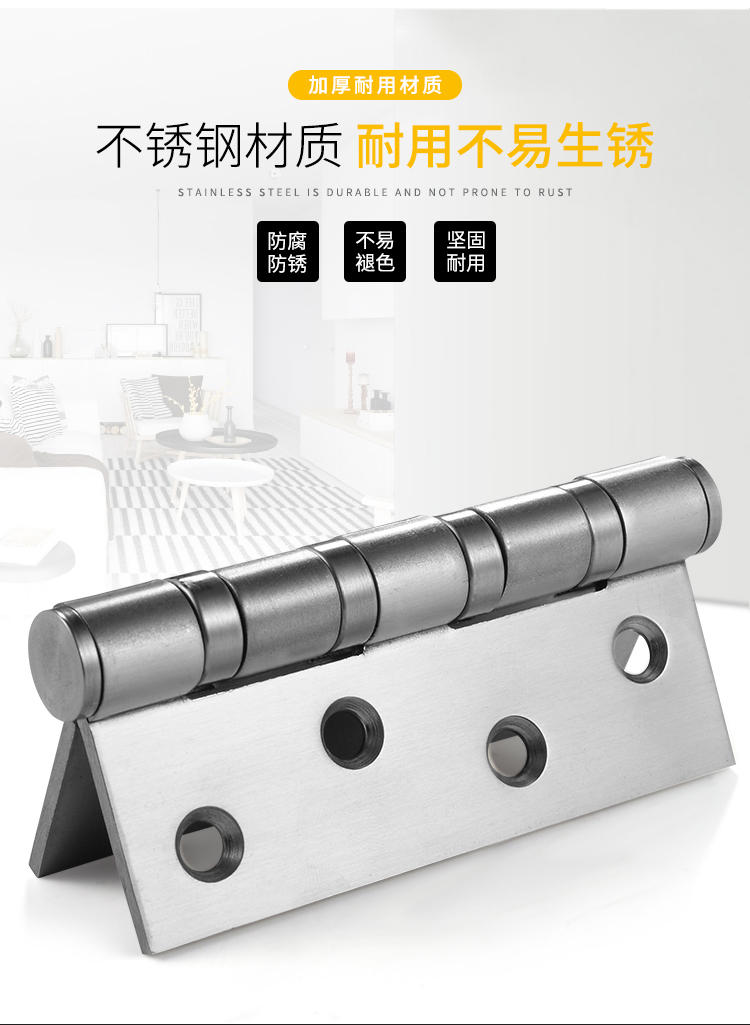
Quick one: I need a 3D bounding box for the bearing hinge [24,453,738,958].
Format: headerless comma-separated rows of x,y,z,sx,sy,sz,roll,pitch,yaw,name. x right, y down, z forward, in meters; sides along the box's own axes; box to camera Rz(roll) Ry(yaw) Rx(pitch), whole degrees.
0.048,0.134,0.797,0.714,0.359,0.216,-4,5,-30,bearing hinge
